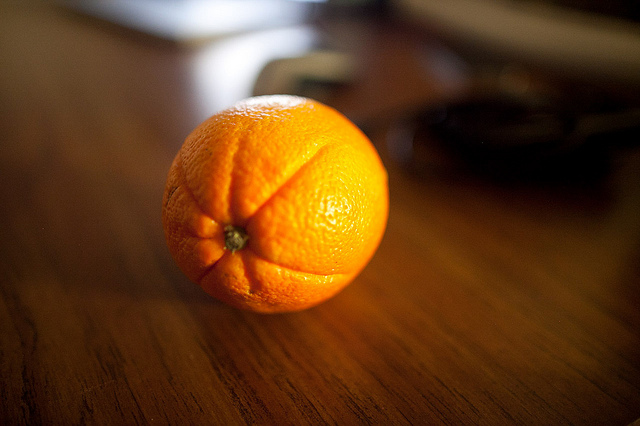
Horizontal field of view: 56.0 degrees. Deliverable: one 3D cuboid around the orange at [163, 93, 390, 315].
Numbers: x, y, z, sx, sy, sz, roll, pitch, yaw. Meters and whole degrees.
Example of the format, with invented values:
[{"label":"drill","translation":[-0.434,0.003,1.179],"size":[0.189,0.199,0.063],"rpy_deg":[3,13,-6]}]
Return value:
[{"label":"orange","translation":[-0.063,-0.013,0.972],"size":[0.332,0.323,0.398],"rpy_deg":[25,31,38]}]
